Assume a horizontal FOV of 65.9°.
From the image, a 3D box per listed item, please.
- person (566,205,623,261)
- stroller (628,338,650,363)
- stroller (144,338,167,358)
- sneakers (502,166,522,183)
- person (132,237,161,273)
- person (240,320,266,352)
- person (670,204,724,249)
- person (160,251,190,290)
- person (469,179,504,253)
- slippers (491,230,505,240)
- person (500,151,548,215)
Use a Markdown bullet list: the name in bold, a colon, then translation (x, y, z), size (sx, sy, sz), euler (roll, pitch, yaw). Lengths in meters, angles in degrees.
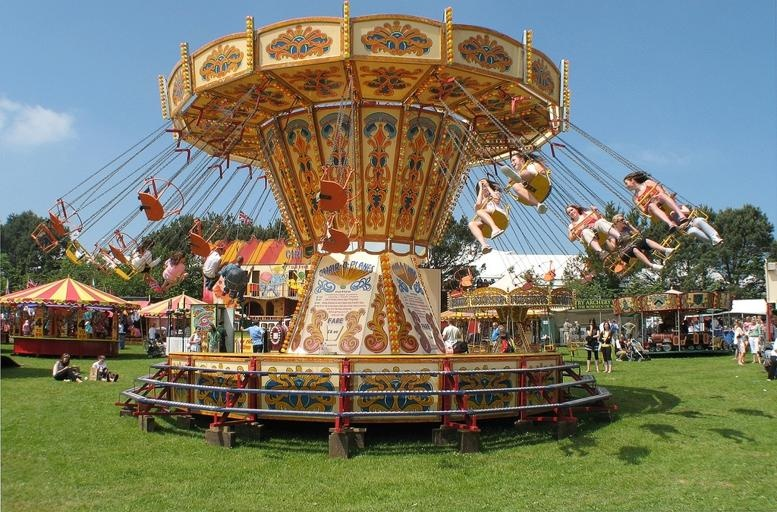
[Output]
- **person**: translation (3.542, -0.333, 10.946), size (0.374, 0.937, 0.405), euler (32, -60, -33)
- **stroller**: translation (10.498, 3.963, 25.322), size (0.591, 1.032, 0.360), euler (7, -30, -20)
- **stroller**: translation (-10.509, 4.248, 27.560), size (0.778, 0.855, 0.603), euler (-3, -9, 27)
- **sneakers**: translation (2.138, -1.423, 10.380), size (0.273, 0.267, 0.699), euler (2, 4, 23)
- **person**: translation (-5.499, 0.001, 13.776), size (0.570, 0.724, 1.141), euler (-2, 4, -23)
- **person**: translation (-3.186, 2.073, 14.712), size (0.517, 1.183, 0.251), euler (-3, 28, -7)
- **person**: translation (5.116, -0.512, 9.896), size (0.476, 0.640, 0.944), euler (0, 4, -6)
- **person**: translation (-4.973, 0.339, 14.211), size (0.543, 0.951, 1.780), euler (-1, 4, -20)
- **person**: translation (1.918, -0.788, 11.495), size (0.700, 1.424, 1.290), euler (1, 4, 20)
- **slippers**: translation (2.058, -0.412, 11.300), size (0.195, 0.175, 0.311), euler (1, 4, 13)
- **person**: translation (2.531, -1.347, 10.801), size (0.731, 1.166, 1.410), euler (1, 4, 14)
